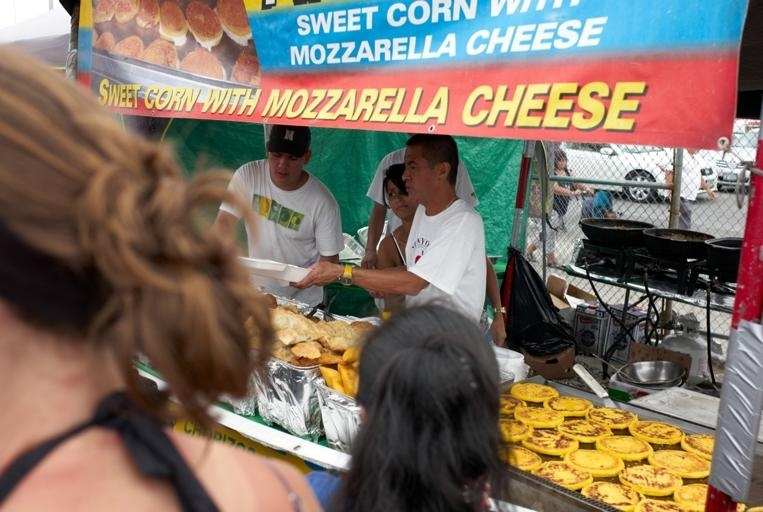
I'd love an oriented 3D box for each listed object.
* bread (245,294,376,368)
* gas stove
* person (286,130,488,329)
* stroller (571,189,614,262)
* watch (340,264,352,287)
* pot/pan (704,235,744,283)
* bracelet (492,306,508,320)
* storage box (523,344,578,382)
[{"bbox_3d":[-0.341,0.498,3.009,0.493,0.185,0.631,20,13,35],"label":"bread"},{"bbox_3d":[1.984,0.093,3.935,0.590,0.137,0.573,-8,20,-39],"label":"gas stove"},{"bbox_3d":[-0.129,-0.140,3.331,0.933,1.388,1.690,-1,-4,-27],"label":"person"},{"bbox_3d":[2.915,-0.423,7.452,0.475,1.216,0.548,0,5,24],"label":"stroller"},{"bbox_3d":[-0.207,0.109,3.260,0.076,0.119,0.109,3,32,-3],"label":"watch"},{"bbox_3d":[2.033,0.022,3.206,0.277,0.140,0.367,0,7,10],"label":"pot/pan"},{"bbox_3d":[0.940,0.444,4.312,0.127,0.080,0.129,-4,-4,8],"label":"bracelet"},{"bbox_3d":[1.490,0.827,4.393,0.160,0.214,0.171,29,-25,-33],"label":"storage box"}]
